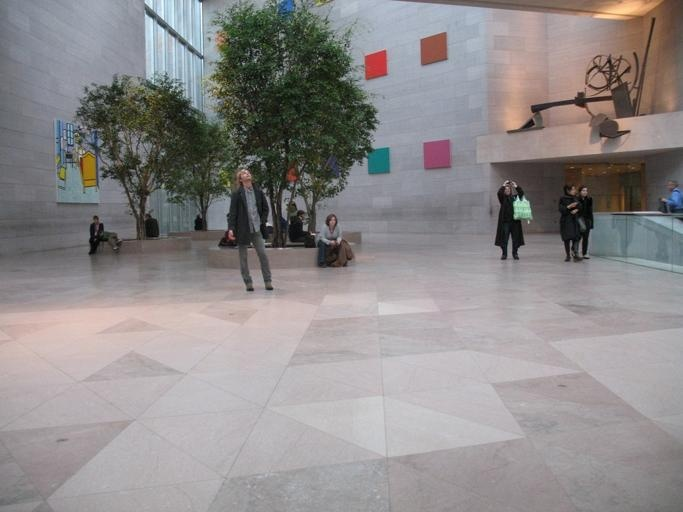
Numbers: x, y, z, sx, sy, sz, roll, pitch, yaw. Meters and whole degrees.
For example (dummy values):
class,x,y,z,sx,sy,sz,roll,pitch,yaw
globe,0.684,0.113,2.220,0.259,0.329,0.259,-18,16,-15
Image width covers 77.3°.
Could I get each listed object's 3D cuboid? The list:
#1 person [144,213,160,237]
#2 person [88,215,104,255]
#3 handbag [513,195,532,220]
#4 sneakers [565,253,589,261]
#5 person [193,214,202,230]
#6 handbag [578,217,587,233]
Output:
class,x,y,z,sx,sy,sz,roll,pitch,yaw
person,-10.393,-1.566,23.424,0.633,1.143,1.063,-4,7,-29
person,-10.208,-0.895,17.828,0.544,1.514,1.083,-4,7,-27
handbag,5.122,-1.366,12.237,0.431,0.614,0.376,1,7,23
sneakers,6.648,0.034,12.162,0.518,0.235,0.172,-6,2,-13
person,-10.377,-2.398,31.136,0.518,0.989,2.222,-4,6,-21
handbag,6.728,-0.864,12.032,0.268,0.377,0.123,2,-6,-30
